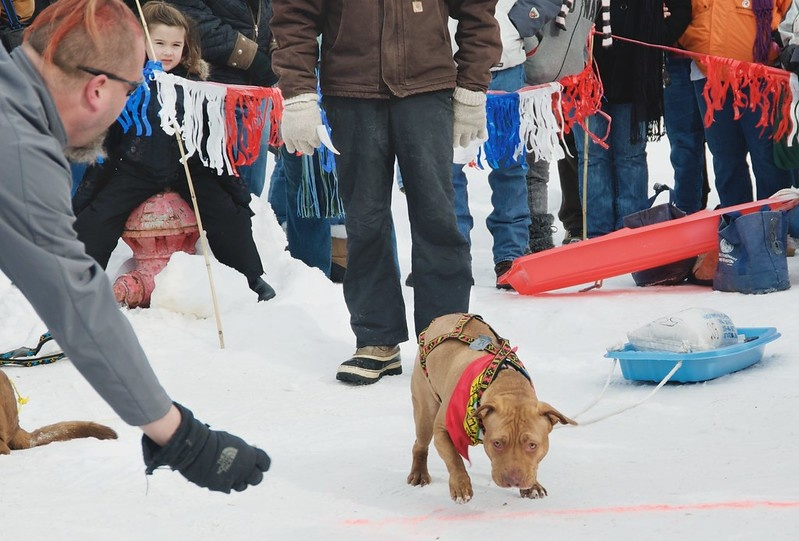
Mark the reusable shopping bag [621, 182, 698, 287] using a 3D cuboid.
[{"bbox_3d":[1.666,-0.177,6.462,0.434,0.365,0.588,-11,-29,-9],"label":"reusable shopping bag"}]

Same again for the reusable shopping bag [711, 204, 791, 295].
[{"bbox_3d":[1.982,-0.111,5.949,0.397,0.459,0.218,-2,12,13],"label":"reusable shopping bag"}]

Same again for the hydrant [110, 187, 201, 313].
[{"bbox_3d":[-1.396,-0.153,6.104,0.523,0.680,0.725,11,14,25],"label":"hydrant"}]

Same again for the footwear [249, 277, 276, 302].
[{"bbox_3d":[-0.796,0.097,6.123,0.091,0.074,0.182,-40,39,-12],"label":"footwear"}]
